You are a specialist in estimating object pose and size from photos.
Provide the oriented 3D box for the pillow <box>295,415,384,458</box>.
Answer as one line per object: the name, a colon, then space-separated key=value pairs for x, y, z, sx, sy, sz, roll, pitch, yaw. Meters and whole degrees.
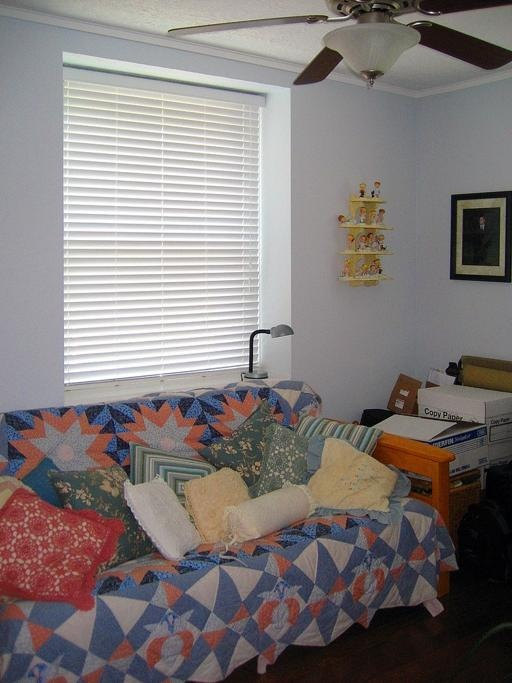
pillow: x=0.385 y=0.414 z=2.593 sx=0.220 sy=0.059 sz=0.213 roll=10 pitch=18 yaw=19

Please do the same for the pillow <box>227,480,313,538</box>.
pillow: x=0.056 y=0.628 z=2.156 sx=0.280 sy=0.095 sz=0.135 roll=-4 pitch=15 yaw=-40

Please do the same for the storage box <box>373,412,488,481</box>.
storage box: x=0.909 y=0.474 z=2.897 sx=0.347 sy=0.269 sz=0.469 roll=-15 pitch=17 yaw=-42

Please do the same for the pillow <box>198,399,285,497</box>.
pillow: x=-0.046 y=0.450 z=2.546 sx=0.399 sy=0.090 sz=0.370 roll=-31 pitch=24 yaw=-27
